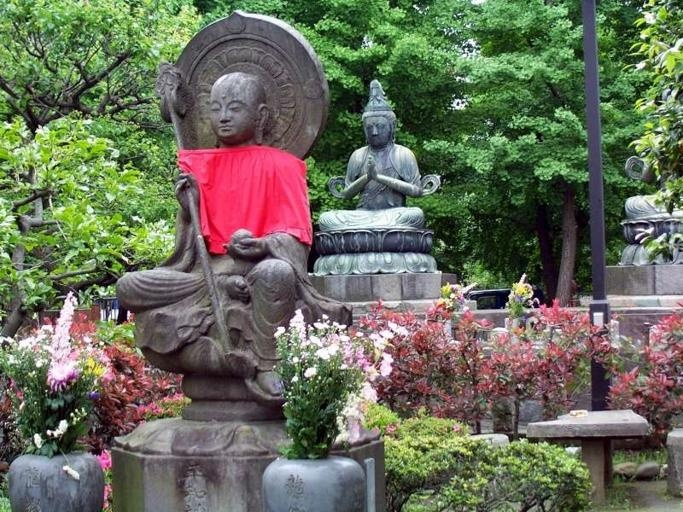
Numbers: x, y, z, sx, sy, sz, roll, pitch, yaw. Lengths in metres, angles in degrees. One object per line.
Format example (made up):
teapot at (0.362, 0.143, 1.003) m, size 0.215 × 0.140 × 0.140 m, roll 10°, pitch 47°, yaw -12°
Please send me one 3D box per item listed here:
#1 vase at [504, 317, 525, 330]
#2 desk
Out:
vase at (2.486, 0.955, 18.361) m, size 0.221 × 0.158 × 0.220 m, roll 3°, pitch -6°, yaw -36°
desk at (2.670, 2.146, 13.805) m, size 1.169 × 0.962 × 1.077 m, roll -2°, pitch -3°, yaw 8°
